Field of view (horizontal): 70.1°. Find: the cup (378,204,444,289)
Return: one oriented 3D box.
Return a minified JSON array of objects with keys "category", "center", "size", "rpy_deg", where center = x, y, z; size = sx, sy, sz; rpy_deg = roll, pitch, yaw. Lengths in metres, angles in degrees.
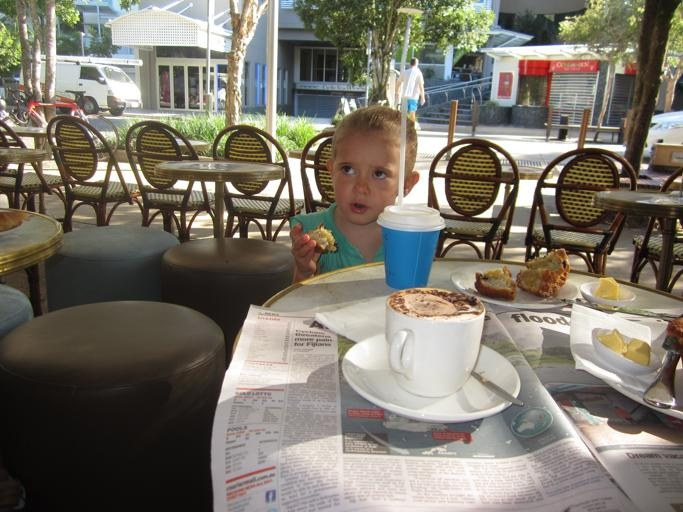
[{"category":"cup","center":[0.177,-0.030,1.349],"size":[0.224,0.215,0.212],"rpy_deg":[0,21,0]}]

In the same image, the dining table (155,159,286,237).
[{"category":"dining table","center":[-0.858,-0.526,3.507],"size":[0.784,0.530,0.718],"rpy_deg":[7,26,2]}]

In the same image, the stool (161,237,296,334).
[{"category":"stool","center":[-0.606,0.077,2.771],"size":[0.604,0.440,0.573],"rpy_deg":[3,10,1]}]

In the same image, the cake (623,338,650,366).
[{"category":"cake","center":[0.587,0.191,0.968],"size":[0.050,0.029,0.049],"rpy_deg":[4,16,18]}]

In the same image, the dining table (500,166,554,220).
[{"category":"dining table","center":[1.597,-0.579,4.371],"size":[0.515,0.513,0.489],"rpy_deg":[-1,12,-6]}]

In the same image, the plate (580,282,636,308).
[{"category":"plate","center":[0.693,0.103,1.279],"size":[0.087,0.026,0.083],"rpy_deg":[2,18,2]}]

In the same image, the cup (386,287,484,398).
[{"category":"cup","center":[0.174,0.152,0.935],"size":[0.156,0.133,0.201],"rpy_deg":[13,23,34]}]

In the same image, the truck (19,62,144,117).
[{"category":"truck","center":[-10.179,-6.962,20.404],"size":[3.033,2.177,1.650],"rpy_deg":[-9,23,-25]}]

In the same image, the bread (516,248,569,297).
[{"category":"bread","center":[0.575,0.070,1.380],"size":[0.148,0.054,0.111],"rpy_deg":[-46,40,-16]}]

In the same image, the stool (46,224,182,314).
[{"category":"stool","center":[-1.371,0.057,2.916],"size":[0.582,0.355,0.553],"rpy_deg":[1,8,-18]}]

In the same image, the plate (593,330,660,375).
[{"category":"plate","center":[0.568,0.184,0.977],"size":[0.102,0.040,0.093],"rpy_deg":[3,19,-40]}]

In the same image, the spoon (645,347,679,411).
[{"category":"spoon","center":[0.587,0.235,0.890],"size":[0.050,0.020,0.163],"rpy_deg":[8,32,30]}]
